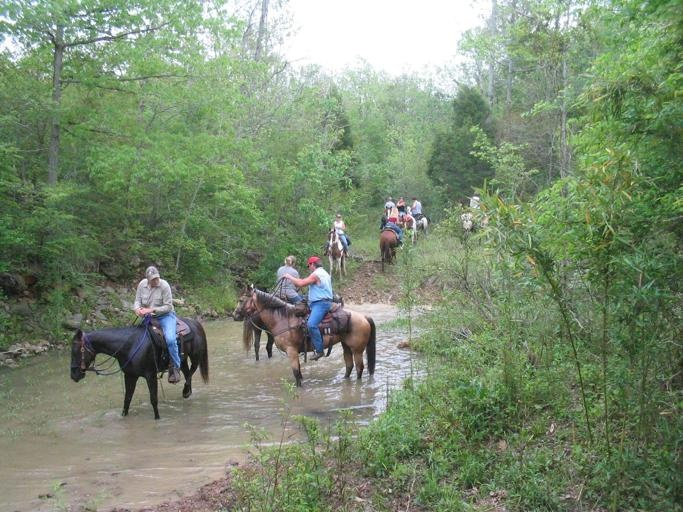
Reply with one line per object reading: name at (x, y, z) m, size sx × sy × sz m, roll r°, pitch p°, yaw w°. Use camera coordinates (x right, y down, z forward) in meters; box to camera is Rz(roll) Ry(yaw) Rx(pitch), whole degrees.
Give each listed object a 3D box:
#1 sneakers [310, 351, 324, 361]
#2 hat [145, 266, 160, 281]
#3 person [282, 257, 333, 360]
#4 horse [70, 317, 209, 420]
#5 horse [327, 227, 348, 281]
sneakers at (-0.691, 2.464, 15.011) m, size 0.513 × 0.236 × 0.189 m, roll 0°, pitch 6°, yaw -7°
hat at (-4.287, 0.412, 13.781) m, size 0.243 × 0.339 × 0.377 m, roll -7°, pitch 9°, yaw -23°
person at (-0.684, 1.370, 15.121) m, size 1.010 × 2.727 × 0.856 m, roll -4°, pitch 8°, yaw -6°
horse at (-4.502, 2.451, 13.974) m, size 1.255 × 2.098 × 3.079 m, roll 3°, pitch 10°, yaw 38°
horse at (-0.043, -0.203, 30.699) m, size 0.582 × 1.797 × 2.658 m, roll -10°, pitch -9°, yaw -21°
